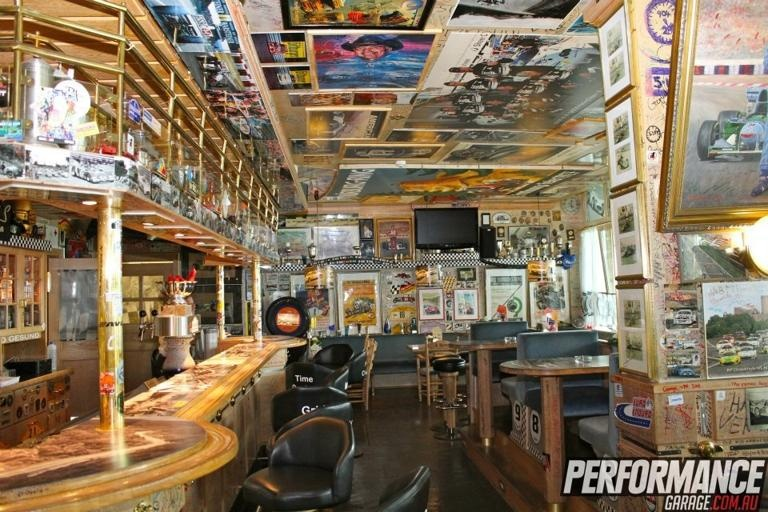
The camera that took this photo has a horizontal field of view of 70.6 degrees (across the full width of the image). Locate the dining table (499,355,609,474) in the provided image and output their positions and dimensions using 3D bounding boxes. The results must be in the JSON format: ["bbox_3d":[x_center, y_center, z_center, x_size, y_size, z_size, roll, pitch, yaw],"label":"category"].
[{"bbox_3d":[2.187,1.684,5.636,1.295,0.901,1.291,-15,-22,38],"label":"dining table"}]

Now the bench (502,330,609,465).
[{"bbox_3d":[2.245,1.641,6.805,1.721,1.267,1.423,1,-8,-12],"label":"bench"}]

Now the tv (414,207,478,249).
[{"bbox_3d":[1.424,-0.599,12.875,1.946,1.048,0.432,-3,5,-33],"label":"tv"}]

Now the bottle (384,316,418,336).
[{"bbox_3d":[0.333,1.658,12.858,0.846,0.345,0.396,3,-8,-39],"label":"bottle"}]
